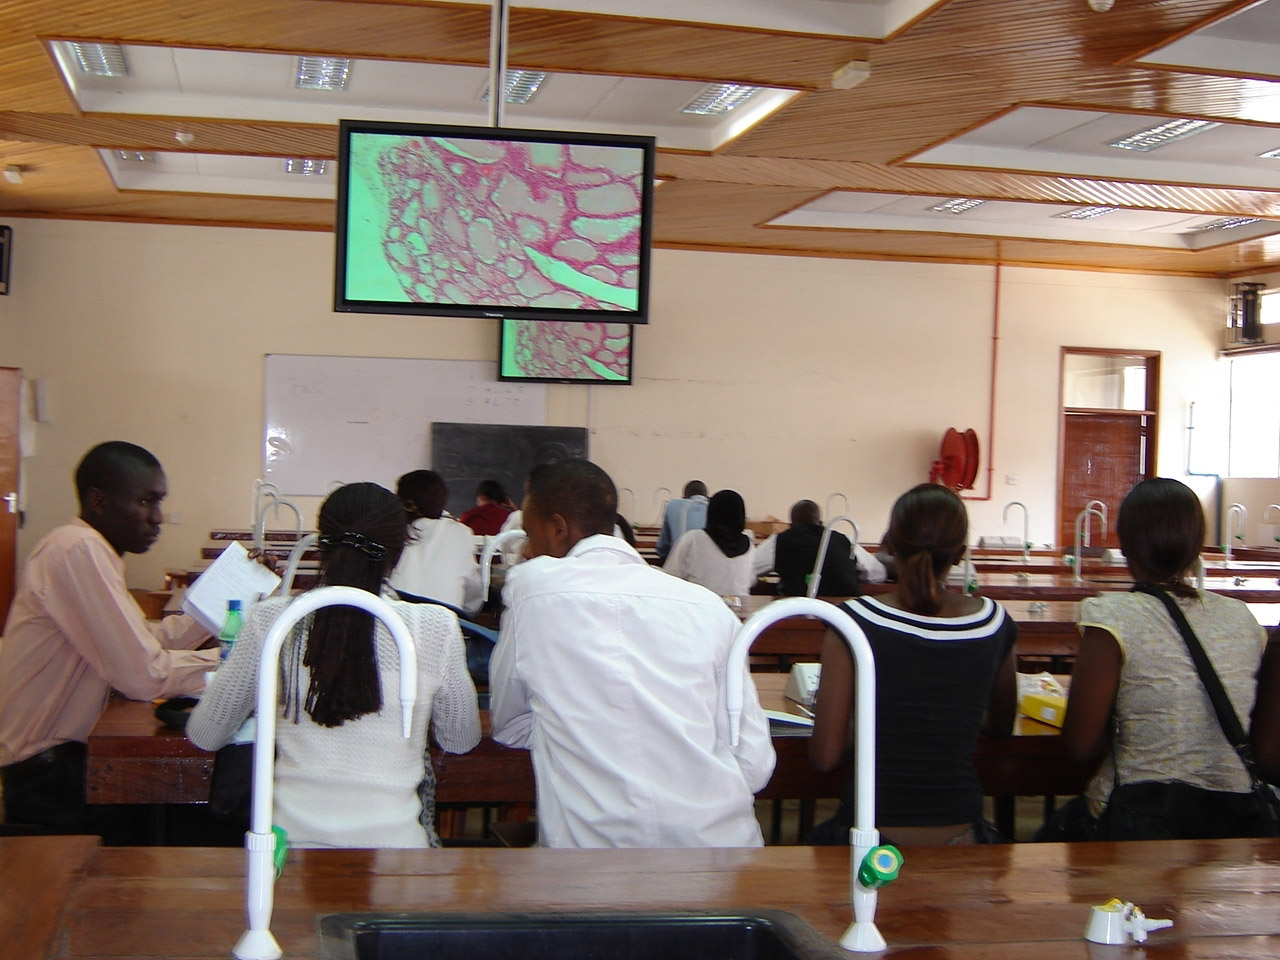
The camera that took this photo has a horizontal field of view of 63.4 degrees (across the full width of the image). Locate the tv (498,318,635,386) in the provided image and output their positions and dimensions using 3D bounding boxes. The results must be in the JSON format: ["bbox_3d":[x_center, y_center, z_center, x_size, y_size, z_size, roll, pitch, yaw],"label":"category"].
[{"bbox_3d":[-0.693,-1.109,8.871,1.104,0.636,0.070,1,-4,-12],"label":"tv"}]

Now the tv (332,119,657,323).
[{"bbox_3d":[-0.515,-0.917,3.658,0.921,0.493,0.033,2,-1,-8],"label":"tv"}]

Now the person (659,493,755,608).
[{"bbox_3d":[0.435,0.464,5.997,0.525,0.763,0.476,4,15,-10],"label":"person"}]

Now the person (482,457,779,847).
[{"bbox_3d":[-0.055,0.587,2.563,0.603,1.230,0.722,-6,8,-16],"label":"person"}]

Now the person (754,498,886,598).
[{"bbox_3d":[0.953,0.459,5.813,0.746,0.725,0.303,-8,25,-9],"label":"person"}]

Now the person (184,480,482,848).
[{"bbox_3d":[-0.641,0.539,2.395,0.635,0.972,0.560,-4,13,-42],"label":"person"}]

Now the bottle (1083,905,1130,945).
[{"bbox_3d":[0.760,0.721,1.678,0.054,0.045,0.063,-2,-10,15],"label":"bottle"}]

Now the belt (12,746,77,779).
[{"bbox_3d":[-1.624,0.791,2.855,0.119,0.025,0.111,-2,-4,-18],"label":"belt"}]
